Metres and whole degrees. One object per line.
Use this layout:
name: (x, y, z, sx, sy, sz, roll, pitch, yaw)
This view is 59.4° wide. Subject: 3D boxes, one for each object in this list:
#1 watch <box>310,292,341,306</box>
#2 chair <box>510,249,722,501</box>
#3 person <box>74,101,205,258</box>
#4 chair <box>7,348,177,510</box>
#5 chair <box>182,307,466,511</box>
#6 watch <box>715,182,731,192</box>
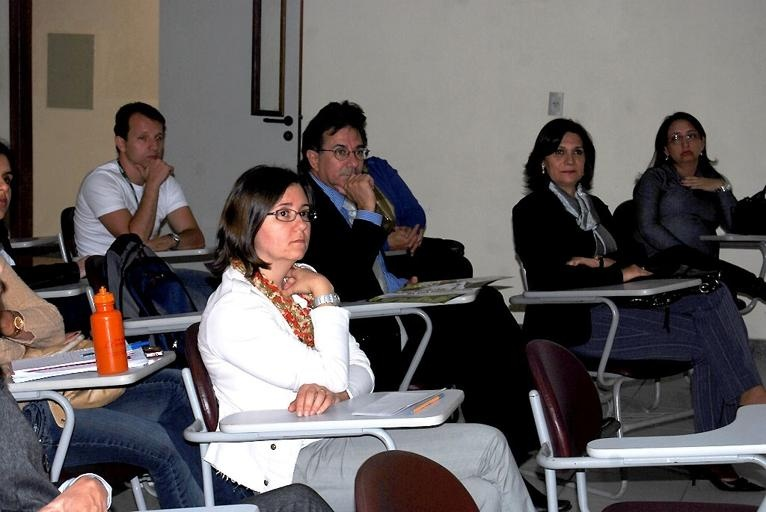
watch: (-0.197, 0.153, 2.302, 0.070, 0.044, 0.073, -14, -23, 43)
chair: (1.306, 0.552, 3.896, 1.086, 1.669, 1.016, -3, 0, 34)
person: (-1.427, -0.432, 4.008, 0.742, 0.880, 0.646, 1, 7, -18)
chair: (-0.916, 0.543, 2.264, 0.438, 0.412, 0.387, 4, 13, 18)
chair: (-0.202, 0.545, 2.149, 0.904, 0.628, 0.540, -2, 9, -2)
watch: (2.423, -0.483, 4.781, 0.087, 0.082, 0.086, -1, 7, -8)
